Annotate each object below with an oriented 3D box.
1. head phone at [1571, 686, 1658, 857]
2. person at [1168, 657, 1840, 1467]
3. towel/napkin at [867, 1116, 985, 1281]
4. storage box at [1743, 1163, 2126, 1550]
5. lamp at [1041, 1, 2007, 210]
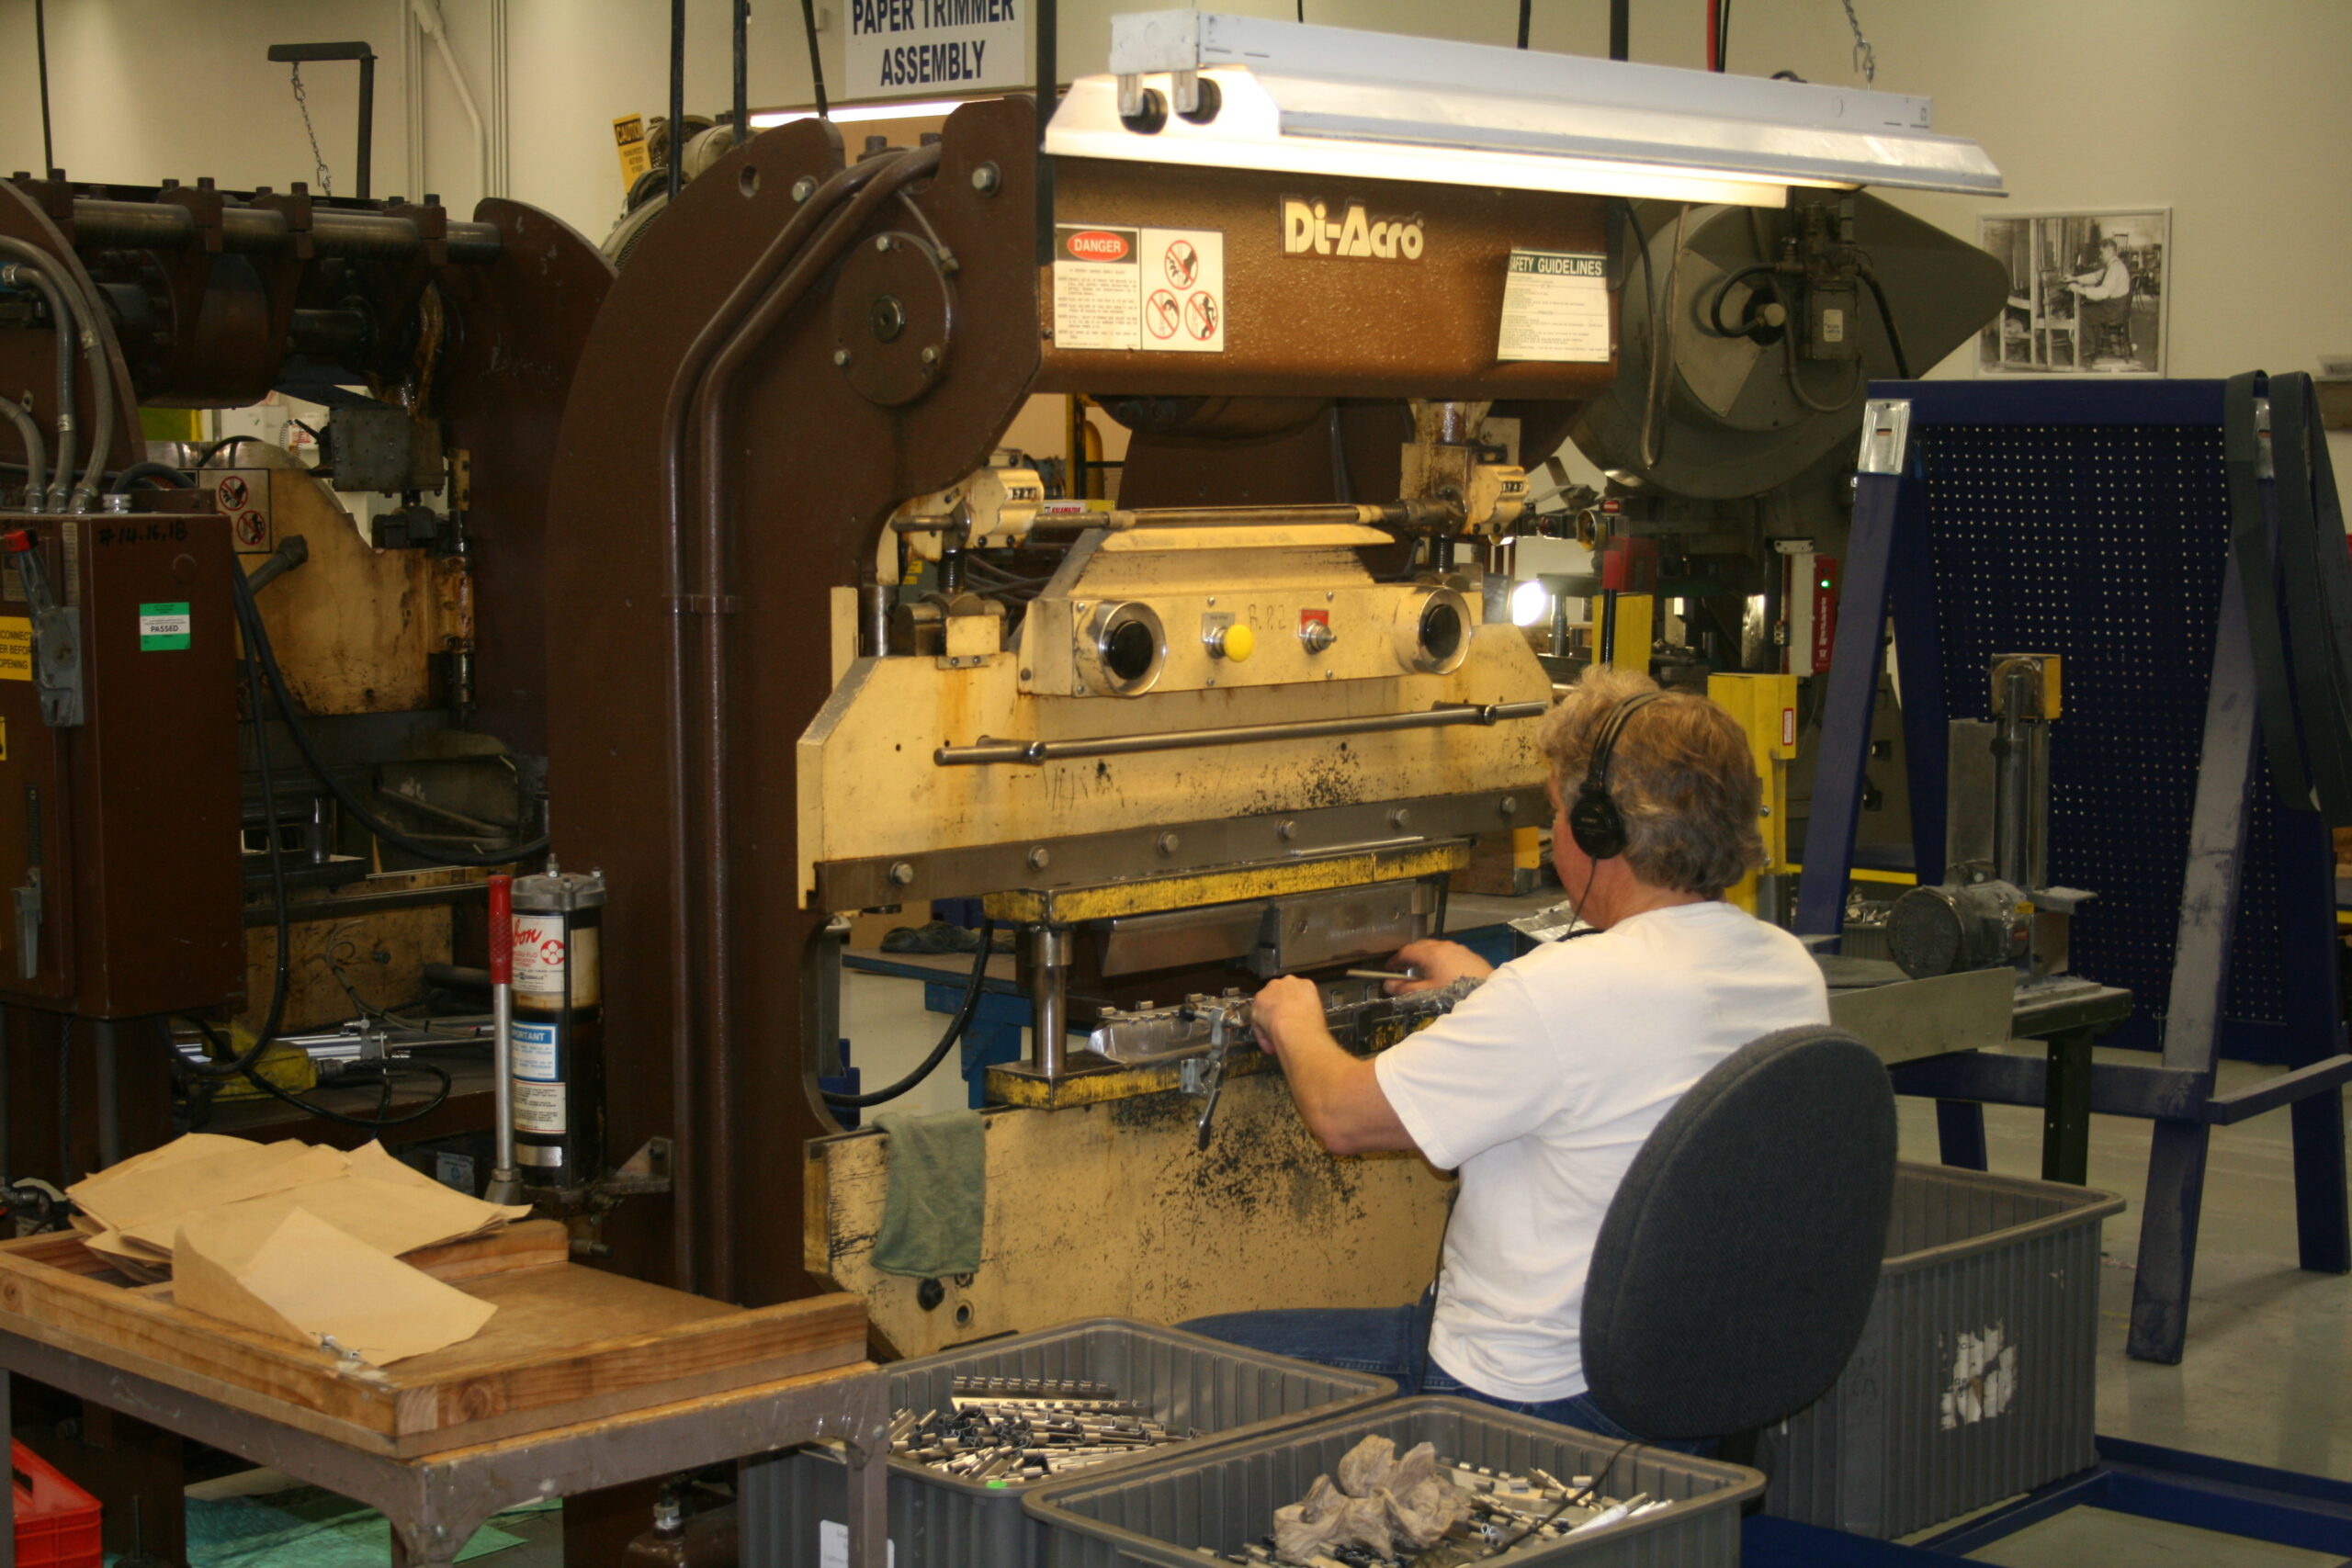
[{"bbox_3d":[0.696,-0.013,3.952,0.100,0.276,0.219,13,8,23],"label":"head phone"},{"bbox_3d":[0.743,0.321,4.499,1.039,1.516,1.022,8,9,44],"label":"person"},{"bbox_3d":[-0.421,0.717,4.433,0.199,0.275,0.099,2,-2,-31],"label":"towel/napkin"},{"bbox_3d":[1.451,1.010,4.662,0.534,0.505,0.820,7,11,40],"label":"storage box"},{"bbox_3d":[0.564,-1.156,4.355,1.607,0.262,0.496,-6,9,-28],"label":"lamp"}]
